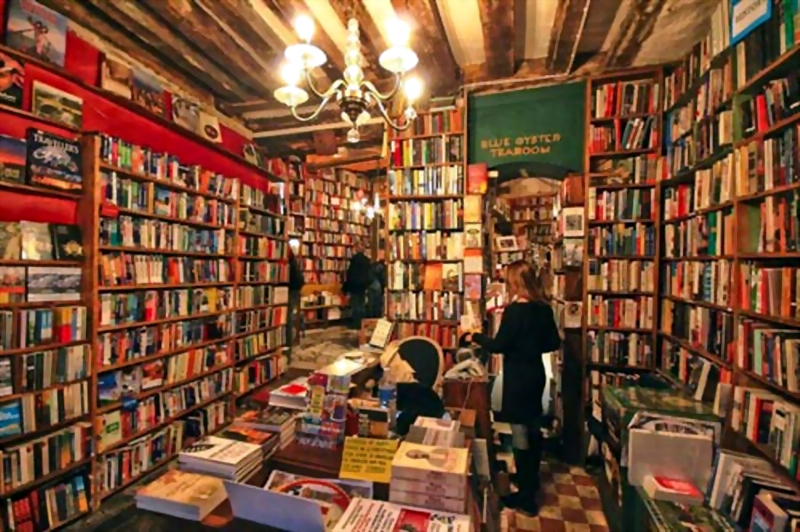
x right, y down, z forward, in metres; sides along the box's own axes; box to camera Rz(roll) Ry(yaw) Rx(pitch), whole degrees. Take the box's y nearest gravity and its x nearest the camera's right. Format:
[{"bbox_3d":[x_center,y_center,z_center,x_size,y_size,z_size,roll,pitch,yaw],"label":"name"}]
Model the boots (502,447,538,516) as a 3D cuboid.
[{"bbox_3d":[1.151,2.076,5.602,0.345,0.631,0.197,-2,0,2],"label":"boots"}]
